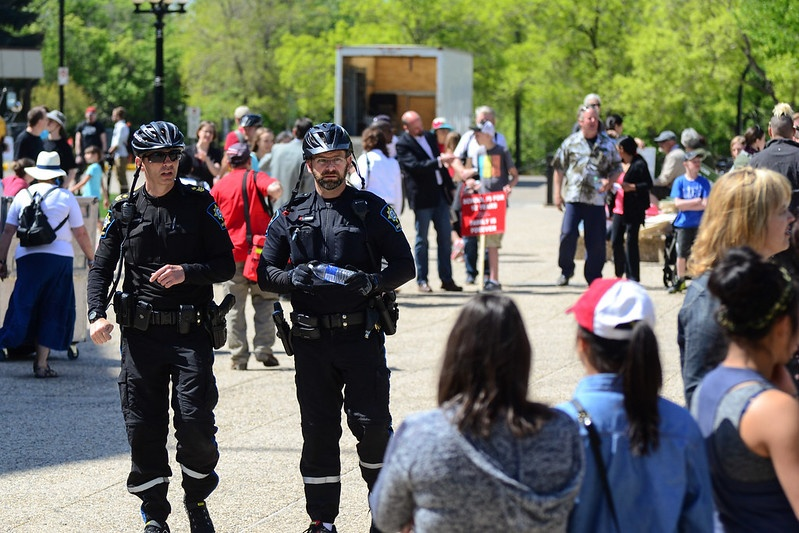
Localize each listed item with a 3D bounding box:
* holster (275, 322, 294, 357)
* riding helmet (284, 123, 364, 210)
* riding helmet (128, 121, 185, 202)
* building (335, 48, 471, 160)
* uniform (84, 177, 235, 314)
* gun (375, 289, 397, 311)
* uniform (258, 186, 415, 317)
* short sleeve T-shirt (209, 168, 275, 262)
[{"bbox_3d":[-0.894,0.534,9.339,0.087,0.362,0.137,-18,-2,3],"label":"holster"},{"bbox_3d":[-0.591,-0.777,9.553,0.443,0.760,0.771,-3,42,-4],"label":"riding helmet"},{"bbox_3d":[-1.935,-0.894,9.598,0.401,0.650,0.478,-11,11,-43],"label":"riding helmet"},{"bbox_3d":[-0.034,-4.079,27.410,3.508,2.171,3.638,-1,11,-14],"label":"building"},{"bbox_3d":[-1.926,-0.100,9.529,1.159,1.165,0.895,-1,10,-2],"label":"uniform"},{"bbox_3d":[-0.122,0.246,9.344,0.153,0.120,0.155,-9,7,18],"label":"gun"},{"bbox_3d":[-0.480,-0.213,9.658,1.482,1.200,0.890,-1,0,0],"label":"uniform"},{"bbox_3d":[-1.556,-0.522,11.905,0.805,0.842,0.476,3,11,15],"label":"short sleeve T-shirt"}]
